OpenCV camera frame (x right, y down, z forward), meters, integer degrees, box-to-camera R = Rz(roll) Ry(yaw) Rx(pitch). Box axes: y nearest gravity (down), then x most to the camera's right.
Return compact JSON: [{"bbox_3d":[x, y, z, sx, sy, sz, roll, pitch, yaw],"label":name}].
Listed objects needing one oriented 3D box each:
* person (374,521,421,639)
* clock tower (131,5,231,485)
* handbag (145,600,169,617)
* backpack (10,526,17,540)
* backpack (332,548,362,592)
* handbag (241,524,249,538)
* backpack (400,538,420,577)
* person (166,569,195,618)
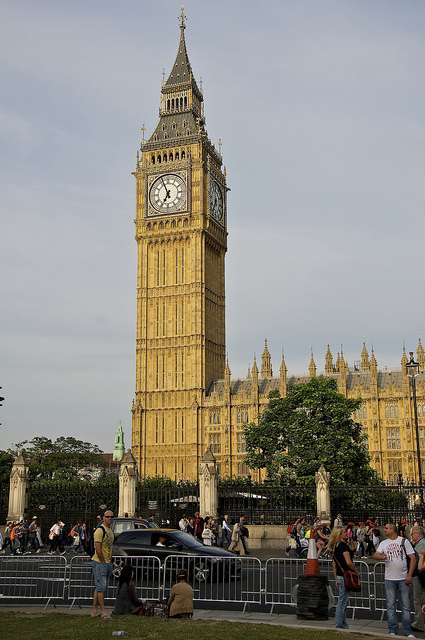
[{"bbox_3d":[2.893,4.057,15.940,0.642,1.700,0.473,-2,-11,11],"label":"person"},{"bbox_3d":[-3.203,-5.650,90.759,8.478,39.549,7.658,3,-11,-18],"label":"clock tower"},{"bbox_3d":[-0.945,4.836,16.976,0.260,0.158,0.351,2,-5,0],"label":"handbag"},{"bbox_3d":[-6.594,7.010,33.416,0.195,0.385,0.308,3,-12,-18],"label":"backpack"},{"bbox_3d":[2.158,4.036,16.138,0.384,0.516,0.286,-2,-11,7],"label":"backpack"},{"bbox_3d":[1.096,6.710,32.176,0.262,0.357,0.486,-1,-5,-8],"label":"handbag"},{"bbox_3d":[3.198,3.807,16.323,0.278,0.610,1.002,-3,-12,13],"label":"backpack"},{"bbox_3d":[-0.531,4.503,16.683,0.427,0.815,1.026,0,-11,-3],"label":"person"}]
